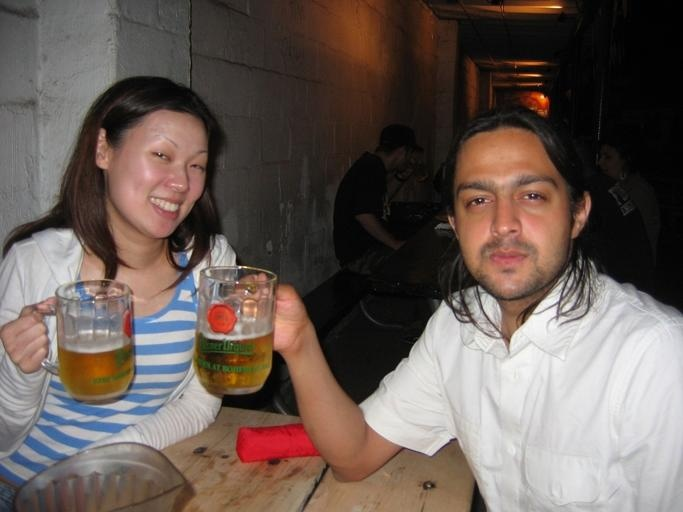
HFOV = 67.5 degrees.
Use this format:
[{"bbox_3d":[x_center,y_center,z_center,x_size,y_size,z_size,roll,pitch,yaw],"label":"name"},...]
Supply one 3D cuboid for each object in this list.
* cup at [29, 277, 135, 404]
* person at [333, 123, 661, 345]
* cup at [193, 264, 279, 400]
[{"bbox_3d":[-0.583,0.202,1.212,0.160,0.270,0.135,-2,12,-25],"label":"cup"},{"bbox_3d":[0.622,-0.108,2.620,1.072,0.402,1.675,8,41,18],"label":"person"},{"bbox_3d":[-0.250,0.181,1.194,0.185,0.270,0.100,0,12,-14],"label":"cup"}]
